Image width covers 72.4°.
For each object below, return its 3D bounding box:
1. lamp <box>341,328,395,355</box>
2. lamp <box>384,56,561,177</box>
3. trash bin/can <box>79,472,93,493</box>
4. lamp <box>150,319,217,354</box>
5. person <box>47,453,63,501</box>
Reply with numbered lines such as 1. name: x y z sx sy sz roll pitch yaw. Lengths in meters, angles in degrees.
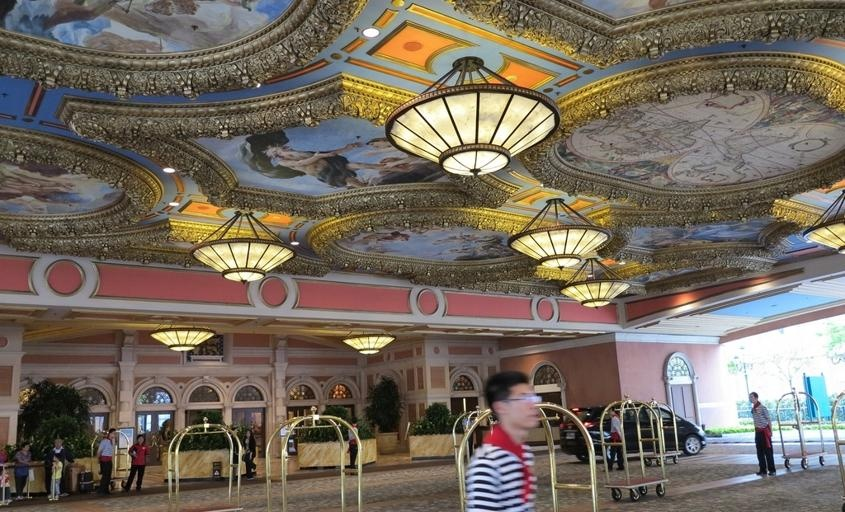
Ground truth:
1. lamp: -2.302 3.749 25.541 3.238 0.621 2.228 0 -30 -4
2. lamp: 0.834 -2.506 9.718 3.455 1.390 2.481 -1 -21 1
3. trash bin/can: -11.115 7.423 18.975 0.457 0.660 0.366 5 -23 -23
4. lamp: -8.741 2.987 21.367 2.421 0.528 1.686 1 -28 -4
5. person: -11.330 6.810 17.792 0.371 1.287 0.749 7 -23 -27
